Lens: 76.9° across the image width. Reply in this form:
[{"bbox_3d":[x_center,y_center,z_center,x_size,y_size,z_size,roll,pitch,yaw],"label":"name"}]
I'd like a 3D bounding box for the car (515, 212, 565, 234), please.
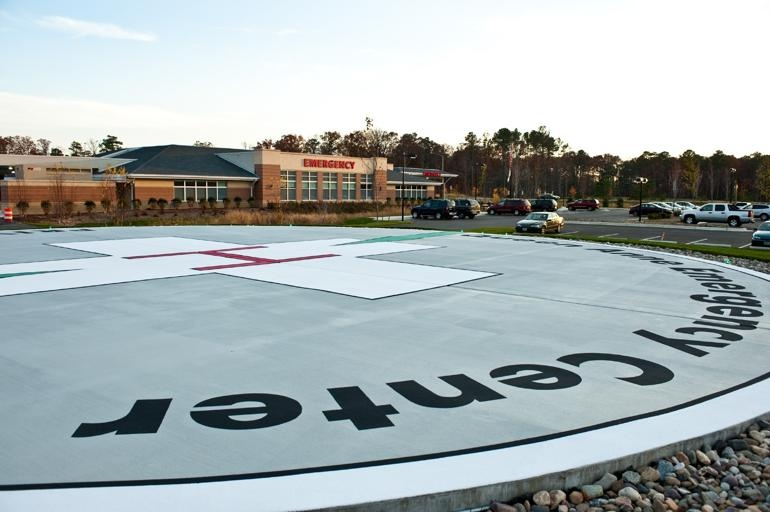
[{"bbox_3d":[10.974,-2.309,34.166,1.379,1.459,4.479,12,16,43],"label":"car"}]
